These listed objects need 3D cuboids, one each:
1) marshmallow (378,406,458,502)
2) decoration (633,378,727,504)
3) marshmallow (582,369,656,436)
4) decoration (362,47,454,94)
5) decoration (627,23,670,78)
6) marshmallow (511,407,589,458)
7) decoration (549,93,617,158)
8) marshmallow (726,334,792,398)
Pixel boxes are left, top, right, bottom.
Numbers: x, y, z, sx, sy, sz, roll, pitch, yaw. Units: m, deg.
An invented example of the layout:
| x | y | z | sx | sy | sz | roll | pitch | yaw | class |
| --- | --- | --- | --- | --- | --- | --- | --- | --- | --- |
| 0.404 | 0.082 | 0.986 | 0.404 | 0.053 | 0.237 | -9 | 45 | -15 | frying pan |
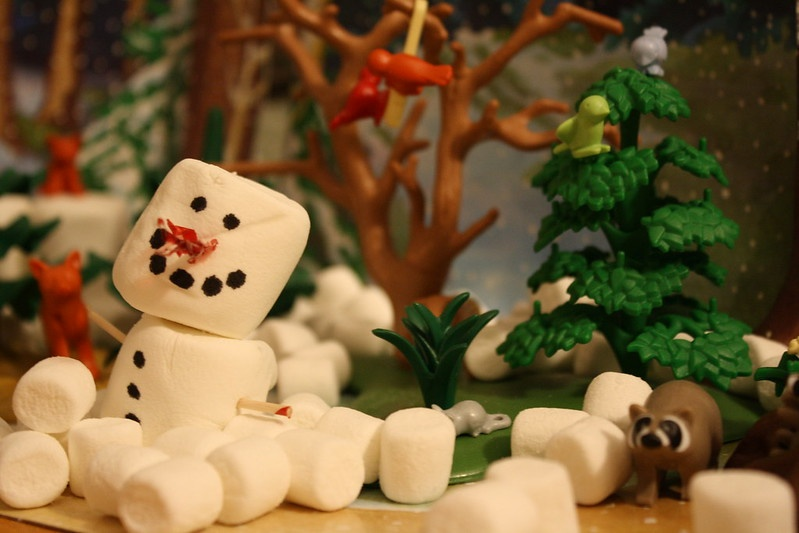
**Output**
| x | y | z | sx | sy | sz | roll | pitch | yaw | class |
| --- | --- | --- | --- | --- | --- | --- | --- | --- | --- |
| 0.042 | 0.395 | 1.974 | 0.139 | 0.172 | 0.158 | 2 | -13 | 15 | marshmallow |
| 0.576 | 0.369 | 1.975 | 0.171 | 0.251 | 0.321 | 1 | 9 | 30 | decoration |
| 0.483 | 0.316 | 2.068 | 0.135 | 0.149 | 0.150 | 9 | -11 | -13 | marshmallow |
| 0.017 | -0.437 | 2.128 | 0.224 | 0.086 | 0.092 | 17 | 48 | 30 | decoration |
| 0.574 | -0.492 | 2.143 | 0.073 | 0.110 | 0.098 | 14 | 28 | 40 | decoration |
| 0.302 | 0.344 | 1.929 | 0.122 | 0.111 | 0.107 | 4 | -26 | 6 | marshmallow |
| 0.405 | -0.314 | 2.078 | 0.113 | 0.149 | 0.158 | -21 | 24 | -35 | decoration |
| 0.853 | 0.248 | 2.254 | 0.100 | 0.144 | 0.140 | 21 | 15 | 23 | marshmallow |
